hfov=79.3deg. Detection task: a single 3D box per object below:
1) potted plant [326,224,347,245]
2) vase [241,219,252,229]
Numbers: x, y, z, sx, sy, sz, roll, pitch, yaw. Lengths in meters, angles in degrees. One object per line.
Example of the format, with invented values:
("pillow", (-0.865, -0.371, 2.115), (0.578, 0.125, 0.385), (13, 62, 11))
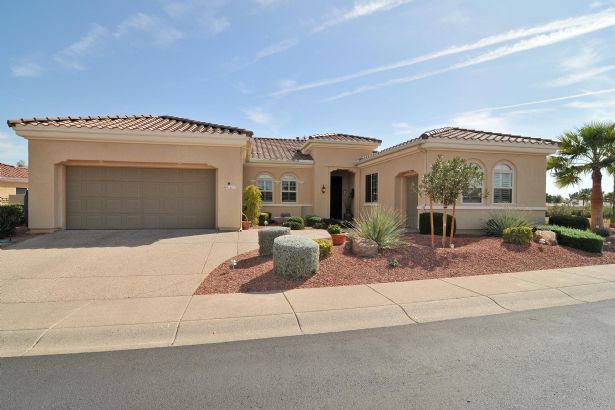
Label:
("potted plant", (0.904, 1.005, 12.599), (0.636, 0.600, 0.645), (1, -2, -34))
("vase", (-2.749, 0.849, 16.501), (0.364, 0.241, 0.358), (-3, 1, -8))
